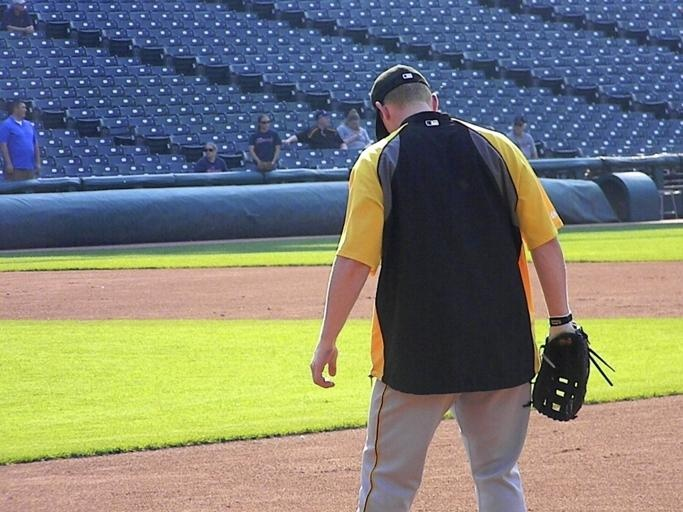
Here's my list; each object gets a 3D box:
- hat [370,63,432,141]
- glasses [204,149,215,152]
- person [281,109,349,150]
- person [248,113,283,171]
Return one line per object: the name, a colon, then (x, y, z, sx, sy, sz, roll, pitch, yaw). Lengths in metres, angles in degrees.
hat: (0.658, -2.228, 20.703, 0.769, 1.081, 0.559, -19, 45, -18)
glasses: (-2.784, -2.302, 31.395, 0.187, 0.097, 0.138, 3, 11, -6)
person: (-0.401, -2.811, 33.081, 1.698, 0.788, 0.533, -1, 5, 6)
person: (-1.718, -2.386, 32.131, 0.783, 0.620, 2.221, 5, 37, -2)
